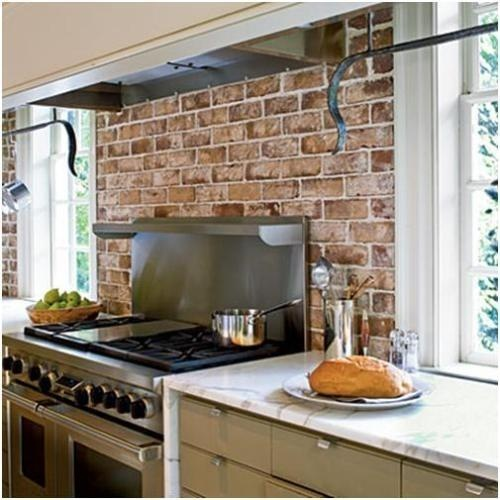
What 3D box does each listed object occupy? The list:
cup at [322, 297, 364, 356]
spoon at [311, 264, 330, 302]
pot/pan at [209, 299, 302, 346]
[{"bbox_3d":[0.348,0.276,1.759,0.173,0.207,0.096,0,-2,-38],"label":"cup"},{"bbox_3d":[0.272,0.116,1.850,0.067,0.120,0.077,-4,-2,39],"label":"spoon"},{"bbox_3d":[0.016,0.268,1.922,0.336,0.164,0.174,-2,-4,26],"label":"pot/pan"}]
